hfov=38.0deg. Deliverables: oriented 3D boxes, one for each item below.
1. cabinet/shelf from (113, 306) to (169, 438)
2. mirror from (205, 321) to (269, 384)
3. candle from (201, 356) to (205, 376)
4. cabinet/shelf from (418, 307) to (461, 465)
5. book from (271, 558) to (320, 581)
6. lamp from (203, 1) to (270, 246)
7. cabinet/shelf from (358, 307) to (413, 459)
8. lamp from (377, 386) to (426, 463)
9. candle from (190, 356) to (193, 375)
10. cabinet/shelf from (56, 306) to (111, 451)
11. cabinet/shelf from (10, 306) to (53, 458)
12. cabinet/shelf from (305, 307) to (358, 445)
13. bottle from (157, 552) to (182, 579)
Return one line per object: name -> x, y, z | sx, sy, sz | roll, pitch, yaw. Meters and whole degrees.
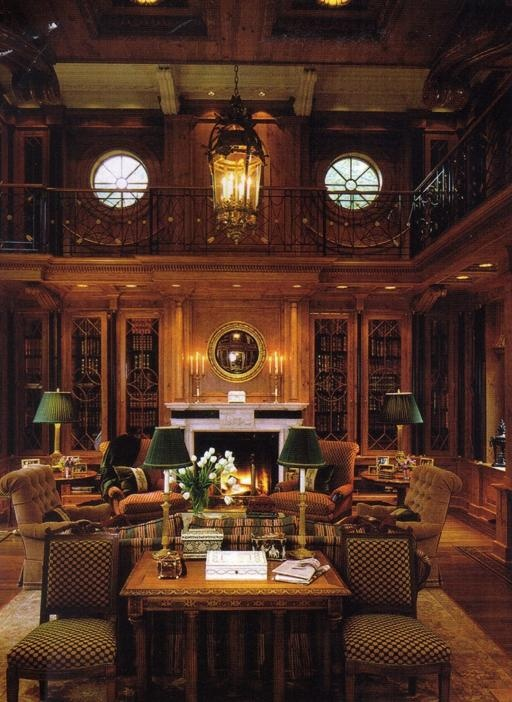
cabinet/shelf -> -1.370, 0.320, 8.958 | 0.559, 1.773, 0.203 | -1, 21, -12
mirror -> -0.257, 0.031, 8.659 | 0.701, 0.716, 0.112 | 1, -1, -5
candle -> -0.604, 0.170, 8.635 | 0.042, 0.234, 0.080 | -6, -16, 21
cabinet/shelf -> 2.207, 0.463, 9.090 | 0.507, 1.884, 0.171 | -3, 6, -11
book -> 0.214, 1.188, 4.015 | 0.233, 0.119, 0.283 | -6, -16, 19
lamp -> -0.130, -1.349, 4.816 | 0.366, 0.999, 0.808 | 0, -15, -2
cabinet/shelf -> 1.580, 0.439, 9.073 | 0.613, 1.891, 0.172 | 3, 13, 18
lamp -> 1.389, 0.755, 7.178 | 0.438, 0.722, 0.436 | -1, -1, -11
candle -> -0.738, 0.164, 8.523 | 0.034, 0.209, 0.040 | 10, -18, -32
cabinet/shelf -> -2.043, 0.454, 8.931 | 0.551, 1.845, 0.195 | -1, 12, -15
cabinet/shelf -> -2.664, 0.412, 8.833 | 0.162, 1.727, 0.402 | -5, -6, 44
cabinet/shelf -> 0.940, 0.419, 8.944 | 0.548, 1.847, 0.180 | -1, -23, 8
bottle -> -0.440, 1.160, 3.984 | 0.112, 0.125, 0.201 | -12, -19, 35
